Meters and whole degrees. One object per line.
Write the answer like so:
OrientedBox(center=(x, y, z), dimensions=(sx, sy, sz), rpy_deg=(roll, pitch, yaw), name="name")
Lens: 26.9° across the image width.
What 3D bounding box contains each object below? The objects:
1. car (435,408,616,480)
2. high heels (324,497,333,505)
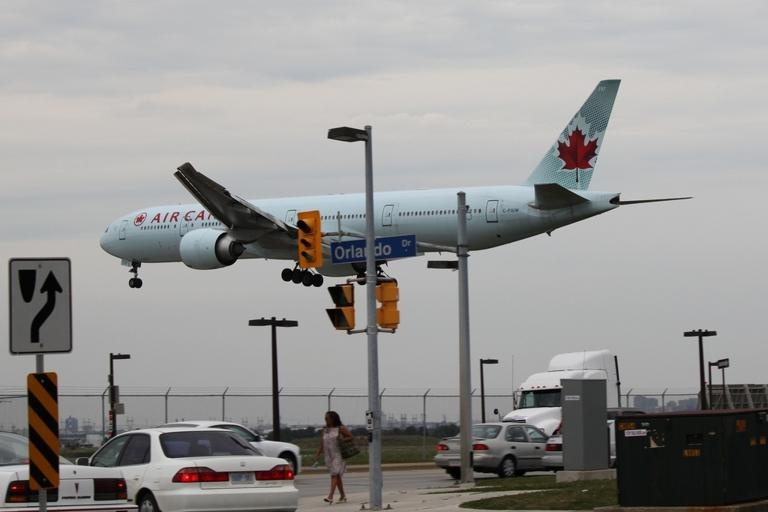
OrientedBox(center=(3.181, 5.206, 42.874), dimensions=(3.246, 1.460, 1.402), rpy_deg=(0, -6, -15), name="car")
OrientedBox(center=(-1.289, 5.624, 36.888), dimensions=(0.135, 0.123, 0.230), rpy_deg=(24, -17, 22), name="high heels")
